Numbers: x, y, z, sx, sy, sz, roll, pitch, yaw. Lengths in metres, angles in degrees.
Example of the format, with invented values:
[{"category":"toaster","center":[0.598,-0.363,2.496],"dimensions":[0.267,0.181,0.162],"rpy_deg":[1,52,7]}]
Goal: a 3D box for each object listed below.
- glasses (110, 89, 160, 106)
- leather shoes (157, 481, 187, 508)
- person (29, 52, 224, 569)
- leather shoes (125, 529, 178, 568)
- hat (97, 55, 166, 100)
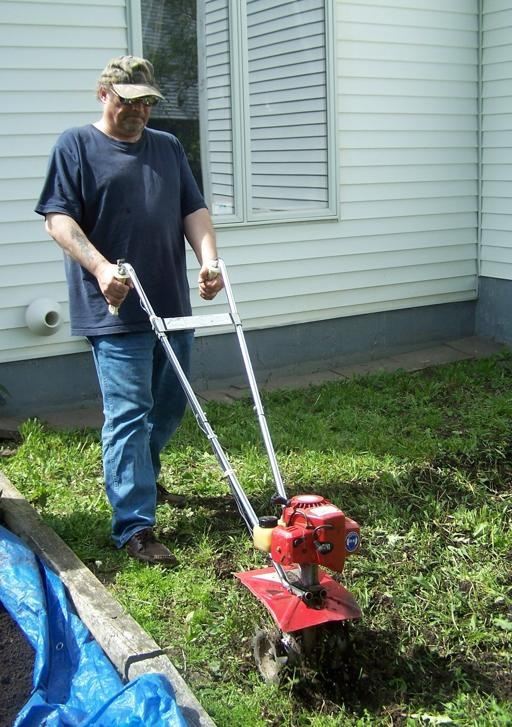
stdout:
[{"category":"glasses","center":[-0.470,-1.079,2.719],"dimensions":[0.195,0.054,0.132],"rpy_deg":[-8,14,-30]},{"category":"leather shoes","center":[-0.453,0.697,3.516],"dimensions":[0.183,0.103,0.074],"rpy_deg":[-1,1,-1]},{"category":"person","center":[-0.517,-0.224,2.937],"dimensions":[0.656,2.119,0.848],"rpy_deg":[7,15,31]},{"category":"leather shoes","center":[-0.448,0.796,2.844],"dimensions":[0.100,0.090,0.245],"rpy_deg":[1,-3,-40]},{"category":"hat","center":[-0.518,-1.151,2.757],"dimensions":[0.194,0.144,0.282],"rpy_deg":[-6,20,-33]}]
